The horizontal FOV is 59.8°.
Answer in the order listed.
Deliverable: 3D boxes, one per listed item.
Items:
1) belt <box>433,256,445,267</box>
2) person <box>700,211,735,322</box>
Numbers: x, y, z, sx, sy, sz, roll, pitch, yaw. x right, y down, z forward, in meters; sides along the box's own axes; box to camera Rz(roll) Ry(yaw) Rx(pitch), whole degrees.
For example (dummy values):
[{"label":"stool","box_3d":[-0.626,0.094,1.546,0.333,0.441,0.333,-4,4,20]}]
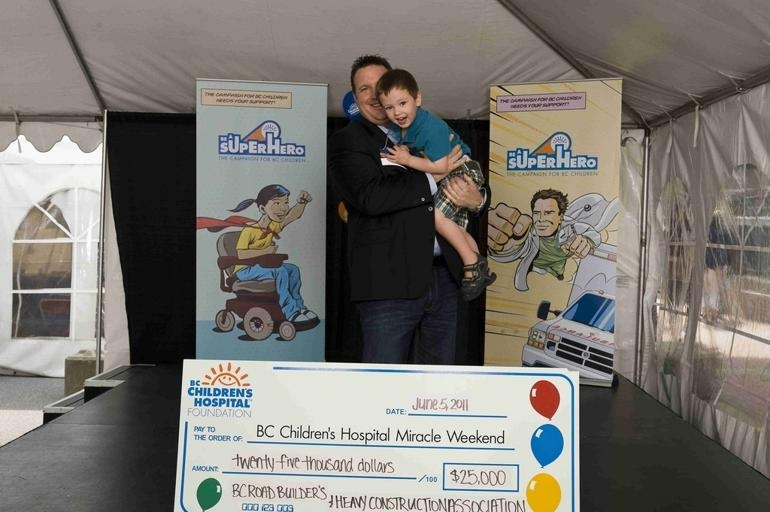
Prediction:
[{"label":"belt","box_3d":[0.345,0.038,4.349,0.072,0.067,0.017,-1,-3,-9]},{"label":"person","box_3d":[2.908,0.119,5.801,0.246,0.986,0.236,2,5,36]}]
